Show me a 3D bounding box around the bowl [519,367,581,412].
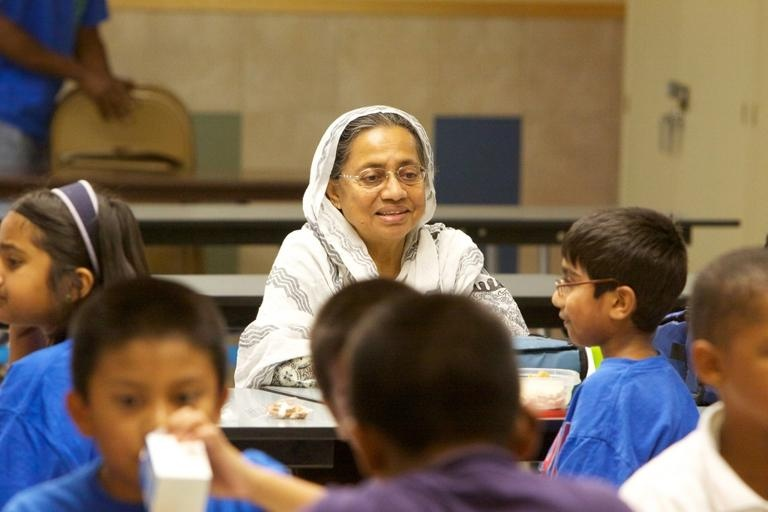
[{"bbox_3d":[0.514,0.418,3.186,0.245,0.095,0.242,0,-1,0],"label":"bowl"}]

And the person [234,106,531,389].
[{"bbox_3d":[0.004,0.026,3.789,1.207,1.085,0.638,-5,7,-28],"label":"person"}]
